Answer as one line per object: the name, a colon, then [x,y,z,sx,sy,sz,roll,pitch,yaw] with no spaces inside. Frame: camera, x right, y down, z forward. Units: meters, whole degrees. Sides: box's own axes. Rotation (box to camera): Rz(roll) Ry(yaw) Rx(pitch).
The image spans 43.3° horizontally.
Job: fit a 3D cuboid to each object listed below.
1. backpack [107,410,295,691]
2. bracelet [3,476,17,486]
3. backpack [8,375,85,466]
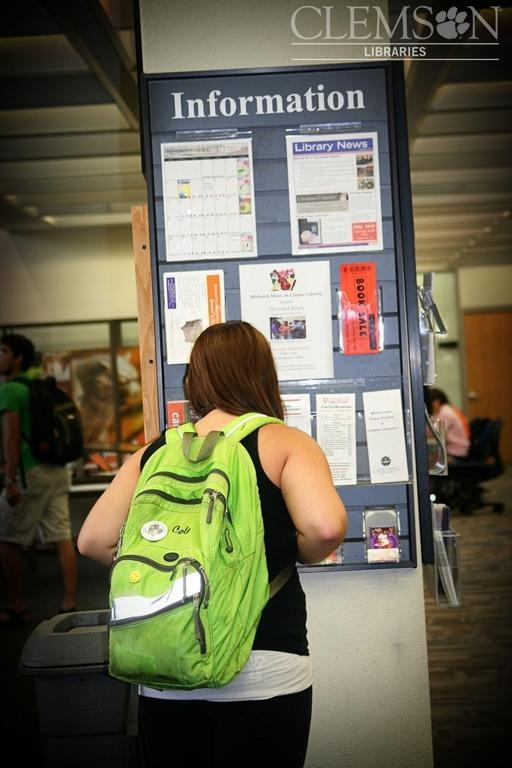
backpack: [-0.083,0.260,1.049,0.273,0.412,0.327,-2,-5,8]
bracelet: [-1.113,0.439,2.921,0.049,0.052,0.029,3,-5,-36]
backpack: [-0.956,0.196,2.981,0.230,0.435,0.279,-8,-2,5]
